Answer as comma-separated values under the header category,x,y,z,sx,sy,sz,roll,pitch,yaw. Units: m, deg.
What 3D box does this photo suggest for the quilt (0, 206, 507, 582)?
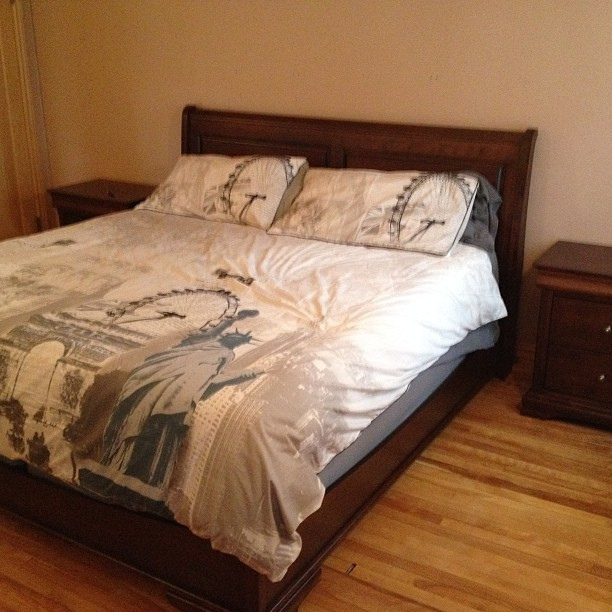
category,x,y,z,sx,sy,sz,roll,pitch,yaw
quilt,-0.084,0.053,1.640,1.196,0.306,1.156,16,28,29
